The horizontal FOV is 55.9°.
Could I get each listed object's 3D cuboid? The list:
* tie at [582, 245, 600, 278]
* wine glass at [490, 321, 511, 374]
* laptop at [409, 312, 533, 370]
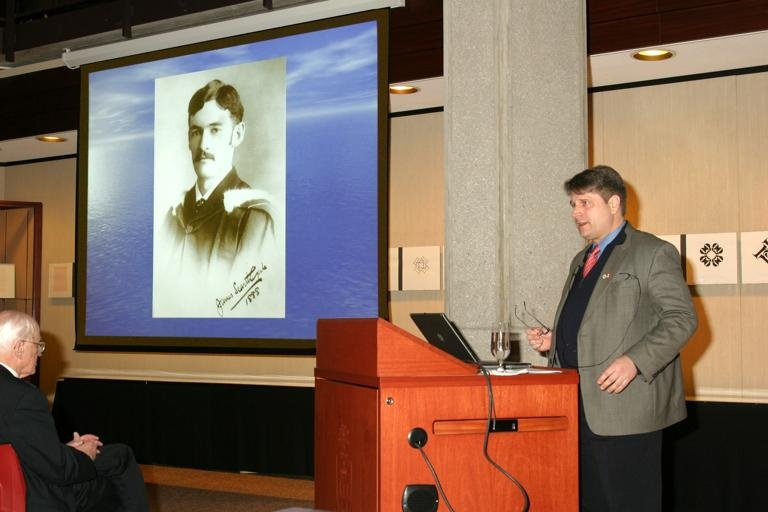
[{"bbox_3d":[1.362,0.036,4.756,0.042,0.177,0.129,16,-12,-18],"label":"tie"},{"bbox_3d":[0.693,0.538,4.282,0.104,0.277,0.205,-3,-3,9],"label":"wine glass"},{"bbox_3d":[0.654,0.524,4.371,0.531,0.347,0.583,-4,-6,2],"label":"laptop"}]
